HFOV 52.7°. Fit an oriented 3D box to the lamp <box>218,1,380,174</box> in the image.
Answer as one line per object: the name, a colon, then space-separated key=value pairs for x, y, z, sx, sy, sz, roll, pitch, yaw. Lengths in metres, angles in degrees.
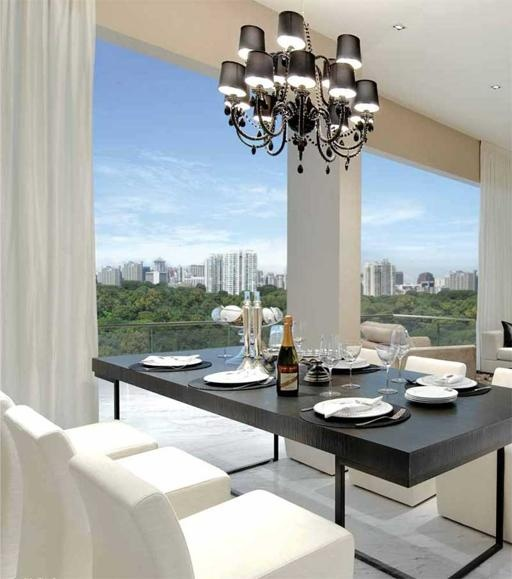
lamp: x=0.227 y=-1.121 z=2.490 sx=0.701 sy=0.888 sz=0.727 roll=10 pitch=19 yaw=20
